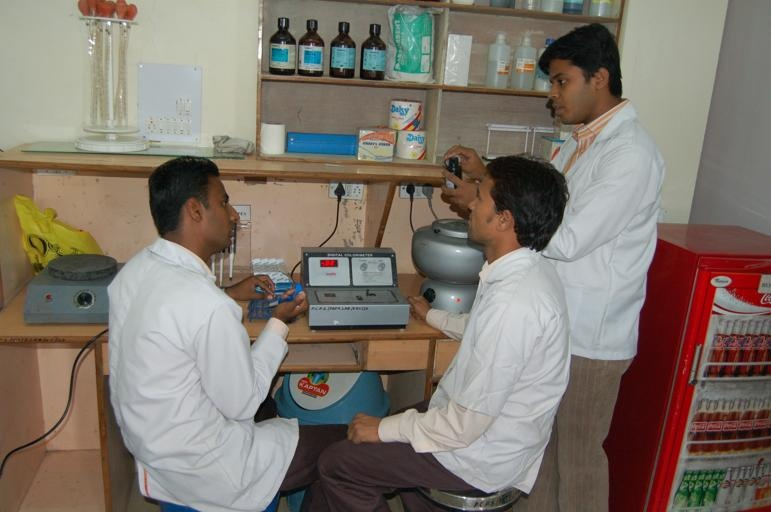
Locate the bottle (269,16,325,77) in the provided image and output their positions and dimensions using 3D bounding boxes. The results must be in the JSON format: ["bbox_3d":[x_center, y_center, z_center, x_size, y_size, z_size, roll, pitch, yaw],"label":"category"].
[{"bbox_3d":[-0.467,-1.070,3.142,0.357,0.323,0.174,-1,6,-19],"label":"bottle"}]

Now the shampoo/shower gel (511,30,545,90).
[{"bbox_3d":[0.757,-1.051,3.348,0.171,0.287,0.172,11,9,35],"label":"shampoo/shower gel"}]

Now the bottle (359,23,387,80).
[{"bbox_3d":[-0.060,-1.071,3.214,0.163,0.291,0.184,-6,14,-19],"label":"bottle"}]

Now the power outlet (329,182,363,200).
[{"bbox_3d":[-0.202,-0.383,3.537,0.152,0.098,0.035,1,14,-13],"label":"power outlet"}]

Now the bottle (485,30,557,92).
[{"bbox_3d":[0.689,-1.044,3.317,0.421,0.408,0.238,0,6,0],"label":"bottle"}]

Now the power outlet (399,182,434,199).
[{"bbox_3d":[0.179,-0.373,3.493,0.140,0.089,0.032,-1,10,-8],"label":"power outlet"}]

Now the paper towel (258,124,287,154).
[{"bbox_3d":[-0.597,-0.607,3.209,0.157,0.148,0.125,-4,15,-18],"label":"paper towel"}]

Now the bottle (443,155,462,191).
[{"bbox_3d":[0.343,-0.418,3.084,0.089,0.167,0.040,0,-3,33],"label":"bottle"}]

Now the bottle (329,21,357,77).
[{"bbox_3d":[-0.225,-1.068,3.177,0.133,0.277,0.104,-3,13,-5],"label":"bottle"}]
